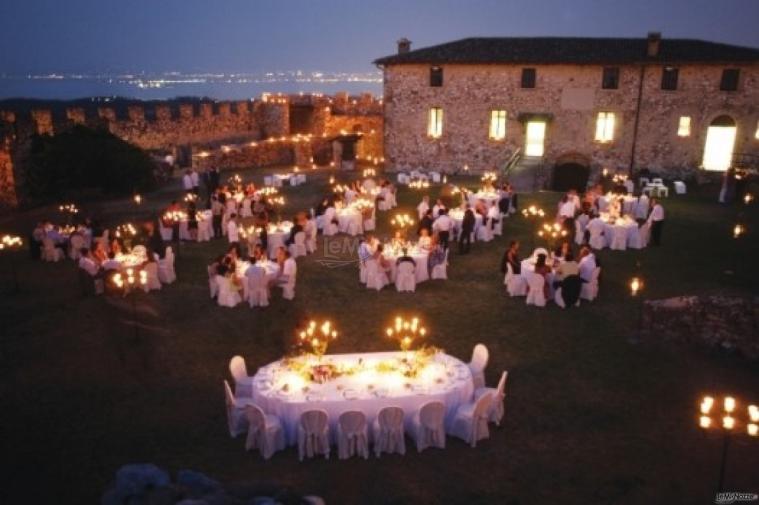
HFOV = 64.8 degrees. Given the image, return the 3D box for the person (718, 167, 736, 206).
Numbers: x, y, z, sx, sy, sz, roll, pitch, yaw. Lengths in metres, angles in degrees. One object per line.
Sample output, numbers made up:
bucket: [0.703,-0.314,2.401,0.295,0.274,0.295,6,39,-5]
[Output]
person: [17.853,-3.359,30.696,0.767,1.518,0.471,-2,15,-6]
